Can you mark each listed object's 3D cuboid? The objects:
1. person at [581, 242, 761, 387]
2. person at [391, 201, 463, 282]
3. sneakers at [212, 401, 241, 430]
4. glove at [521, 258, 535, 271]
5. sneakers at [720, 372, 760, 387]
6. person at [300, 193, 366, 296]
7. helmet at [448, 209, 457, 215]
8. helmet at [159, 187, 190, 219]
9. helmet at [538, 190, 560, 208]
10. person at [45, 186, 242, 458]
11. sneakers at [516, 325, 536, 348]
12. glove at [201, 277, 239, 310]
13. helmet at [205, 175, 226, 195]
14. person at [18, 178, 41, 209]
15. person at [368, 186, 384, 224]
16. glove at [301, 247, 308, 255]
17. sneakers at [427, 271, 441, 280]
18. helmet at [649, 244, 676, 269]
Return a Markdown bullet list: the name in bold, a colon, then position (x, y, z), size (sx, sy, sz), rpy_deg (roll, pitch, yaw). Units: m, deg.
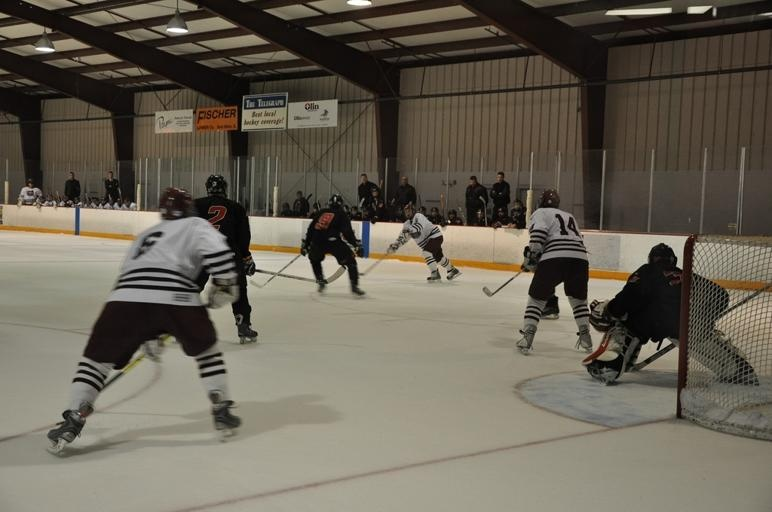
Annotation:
- **person**: position (2.297, 0.497, 5.235), size (1.231, 1.188, 0.902), rpy_deg (-4, -3, 38)
- **person**: position (0.796, -0.209, 11.470), size (1.326, 1.429, 0.731), rpy_deg (8, -19, -22)
- **sneakers**: position (-0.990, 0.980, 3.914), size (0.195, 0.208, 0.131), rpy_deg (8, -7, -26)
- **glove**: position (1.418, 0.091, 6.335), size (0.131, 0.111, 0.117), rpy_deg (-4, 6, 19)
- **sneakers**: position (2.706, 0.950, 4.844), size (0.284, 0.092, 0.053), rpy_deg (1, 6, -1)
- **person**: position (-0.759, -0.158, 9.251), size (0.912, 1.442, 0.868), rpy_deg (1, 6, -5)
- **helmet**: position (1.493, -0.965, 14.317), size (0.147, 0.147, 0.153), rpy_deg (-1, 3, 6)
- **helmet**: position (-1.319, -0.322, 4.079), size (0.158, 0.198, 0.204), rpy_deg (0, -12, 32)
- **helmet**: position (1.636, -0.573, 6.441), size (0.159, 0.200, 0.199), rpy_deg (-12, 32, -32)
- **person**: position (-1.475, 0.412, 4.031), size (1.059, 1.794, 0.626), rpy_deg (3, -27, -20)
- **sneakers**: position (1.353, 0.775, 6.170), size (0.164, 0.283, 0.453), rpy_deg (3, 6, 12)
- **glove**: position (-1.036, 0.246, 4.018), size (0.205, 0.201, 0.161), rpy_deg (22, -7, -13)
- **helmet**: position (-1.586, -0.685, 5.985), size (0.163, 0.202, 0.197), rpy_deg (3, 21, -1)
- **person**: position (-11.782, -2.034, 21.080), size (0.657, 0.774, 1.571), rpy_deg (-3, 7, -35)
- **person**: position (-0.213, -1.223, 15.204), size (0.394, 0.760, 0.398), rpy_deg (3, 6, 18)
- **glove**: position (-1.147, -0.075, 9.076), size (0.112, 0.161, 0.161), rpy_deg (1, -1, -10)
- **sneakers**: position (0.860, 0.356, 11.339), size (0.230, 0.170, 0.212), rpy_deg (2, 6, 4)
- **helmet**: position (2.244, 0.016, 5.138), size (0.168, 0.206, 0.228), rpy_deg (-1, -10, 15)
